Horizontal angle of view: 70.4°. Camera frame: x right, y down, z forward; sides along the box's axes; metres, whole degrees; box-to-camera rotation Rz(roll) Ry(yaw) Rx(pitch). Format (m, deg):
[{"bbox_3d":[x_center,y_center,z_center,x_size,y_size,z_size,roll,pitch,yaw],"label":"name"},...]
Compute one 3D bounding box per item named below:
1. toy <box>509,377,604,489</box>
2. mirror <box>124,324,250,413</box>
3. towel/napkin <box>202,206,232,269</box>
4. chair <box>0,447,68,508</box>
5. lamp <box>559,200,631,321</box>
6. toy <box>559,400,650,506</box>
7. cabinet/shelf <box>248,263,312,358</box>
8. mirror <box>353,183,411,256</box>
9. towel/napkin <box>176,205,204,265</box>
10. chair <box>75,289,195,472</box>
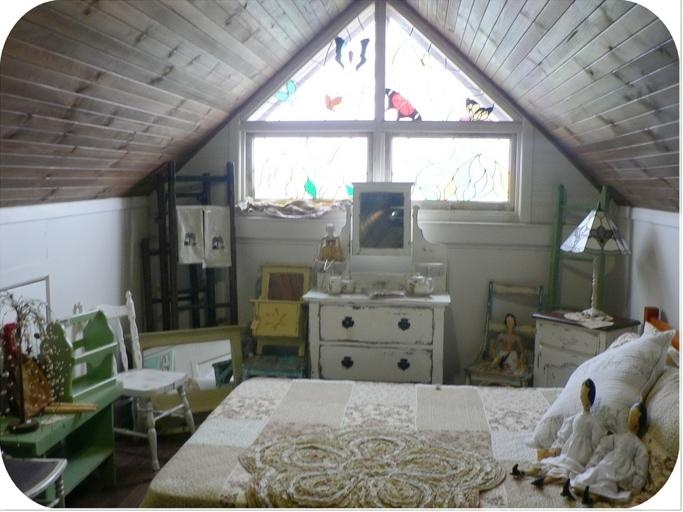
[{"bbox_3d":[0.962,0.784,2.213,0.420,0.475,0.315,11,-6,-28],"label":"toy"},{"bbox_3d":[-1.138,0.828,3.514,0.627,0.583,0.084,-4,-13,-14],"label":"mirror"},{"bbox_3d":[-1.040,-0.164,4.081,0.251,0.506,0.039,0,3,0],"label":"towel/napkin"},{"bbox_3d":[-1.318,0.984,2.131,0.259,0.129,0.372,-2,10,-24],"label":"chair"},{"bbox_3d":[1.834,0.027,3.515,0.429,0.840,0.686,6,13,31],"label":"lamp"},{"bbox_3d":[1.088,0.830,1.954,0.464,0.181,0.224,-44,28,-26],"label":"toy"},{"bbox_3d":[-0.502,0.485,4.427,0.573,0.970,0.681,0,-5,-4],"label":"cabinet/shelf"},{"bbox_3d":[0.342,-0.319,3.912,0.534,0.628,0.034,1,3,4],"label":"mirror"},{"bbox_3d":[-1.233,-0.175,3.962,0.218,0.459,0.096,-5,12,-17],"label":"towel/napkin"},{"bbox_3d":[-1.341,0.801,3.238,0.515,1.003,0.464,-2,3,18],"label":"chair"}]
